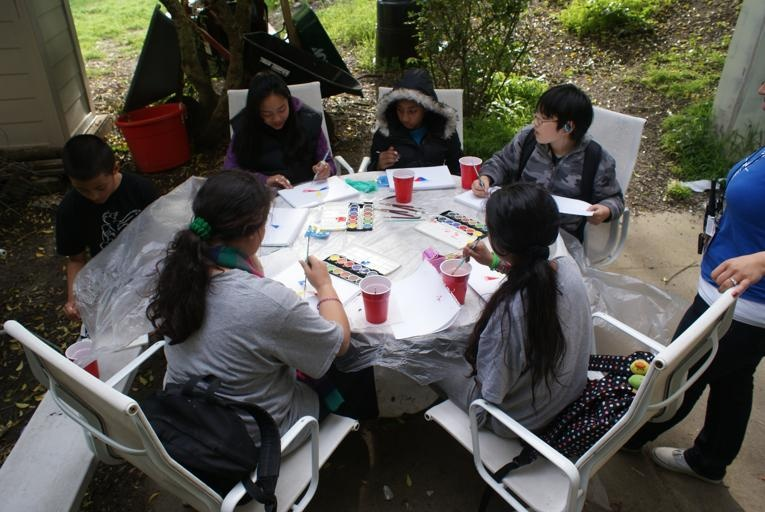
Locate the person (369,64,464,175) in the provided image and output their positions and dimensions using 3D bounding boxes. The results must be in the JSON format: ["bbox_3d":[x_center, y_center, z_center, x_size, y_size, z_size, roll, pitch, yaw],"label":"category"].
[{"bbox_3d":[0.286,-0.904,4.126,0.763,1.056,0.643,-7,3,-5],"label":"person"}]

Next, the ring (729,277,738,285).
[{"bbox_3d":[1.765,0.122,2.479,0.027,0.008,0.027,15,29,-8],"label":"ring"}]

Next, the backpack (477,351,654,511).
[{"bbox_3d":[0.980,0.827,2.533,0.865,0.260,0.527,-45,12,15],"label":"backpack"}]

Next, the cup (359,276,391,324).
[{"bbox_3d":[-0.037,0.238,2.665,0.171,0.175,0.201,-2,58,14],"label":"cup"}]

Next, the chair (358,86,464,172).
[{"bbox_3d":[0.306,-1.190,4.242,0.567,0.602,0.904,2,31,2],"label":"chair"}]

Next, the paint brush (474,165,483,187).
[{"bbox_3d":[0.681,-0.576,3.519,0.098,0.156,0.073,1,12,4],"label":"paint brush"}]

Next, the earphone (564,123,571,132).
[{"bbox_3d":[1.264,-0.878,3.367,0.032,0.048,0.017,5,49,12],"label":"earphone"}]

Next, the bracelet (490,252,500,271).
[{"bbox_3d":[0.650,0.033,2.821,0.063,0.046,0.083,-25,37,35],"label":"bracelet"}]

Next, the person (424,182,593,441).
[{"bbox_3d":[0.633,0.203,2.785,0.880,1.323,1.054,-11,31,-4],"label":"person"}]

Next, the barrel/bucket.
[{"bbox_3d":[-2.543,-1.420,5.737,0.686,0.643,0.694,5,8,-1],"label":"barrel/bucket"}]
